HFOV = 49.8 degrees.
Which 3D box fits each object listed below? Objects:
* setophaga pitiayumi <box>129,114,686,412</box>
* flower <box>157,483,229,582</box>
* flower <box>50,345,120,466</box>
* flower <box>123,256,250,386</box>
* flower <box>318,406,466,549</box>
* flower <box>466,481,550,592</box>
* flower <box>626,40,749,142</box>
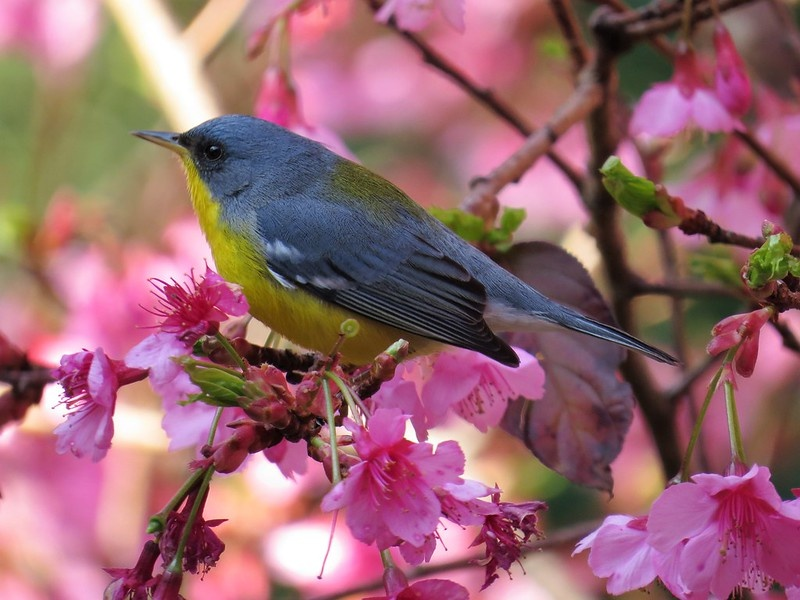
[{"bbox_3d":[0.032,-0.105,2.505,1.552,0.720,0.524,10,13,9],"label":"setophaga pitiayumi"},{"bbox_3d":[-0.430,0.473,1.788,0.132,0.174,0.098,31,-25,-22],"label":"flower"},{"bbox_3d":[-0.622,0.216,1.811,0.088,0.204,0.190,-2,-11,-6],"label":"flower"},{"bbox_3d":[-0.453,0.056,1.763,0.252,0.162,0.196,-30,-11,33],"label":"flower"},{"bbox_3d":[0.000,0.345,1.632,0.246,0.256,0.139,20,1,23],"label":"flower"},{"bbox_3d":[0.212,0.484,1.804,0.202,0.161,0.170,11,15,39],"label":"flower"},{"bbox_3d":[0.635,-0.450,1.913,0.205,0.135,0.199,-2,9,-43],"label":"flower"}]
